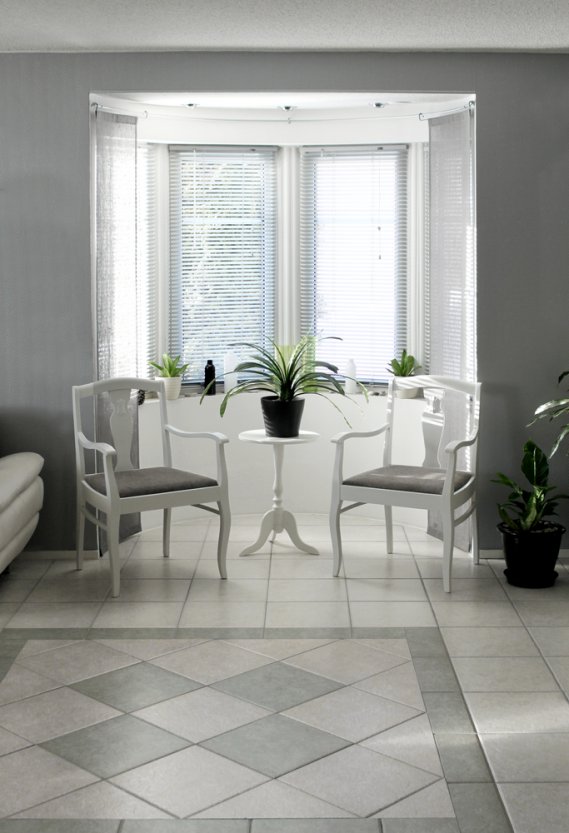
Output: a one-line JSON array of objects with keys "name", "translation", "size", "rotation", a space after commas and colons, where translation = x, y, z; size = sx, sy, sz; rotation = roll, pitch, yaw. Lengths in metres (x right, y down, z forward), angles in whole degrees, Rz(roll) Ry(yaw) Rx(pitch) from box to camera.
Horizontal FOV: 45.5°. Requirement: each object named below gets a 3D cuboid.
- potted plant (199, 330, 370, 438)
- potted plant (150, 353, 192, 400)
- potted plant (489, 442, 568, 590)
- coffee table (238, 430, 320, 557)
[{"name": "potted plant", "translation": [-0.035, -0.158, 3.416], "size": [0.670, 0.455, 0.564], "rotation": [1, 0, 27]}, {"name": "potted plant", "translation": [-0.646, -0.228, 3.759], "size": [0.239, 0.235, 0.244], "rotation": [2, 7, 31]}, {"name": "potted plant", "translation": [1.052, 0.394, 2.892], "size": [0.287, 0.594, 0.407], "rotation": [1, 1, 16]}, {"name": "coffee table", "translation": [-0.063, 0.364, 3.298], "size": [0.529, 0.695, 0.518], "rotation": [0, -1, 2]}]
